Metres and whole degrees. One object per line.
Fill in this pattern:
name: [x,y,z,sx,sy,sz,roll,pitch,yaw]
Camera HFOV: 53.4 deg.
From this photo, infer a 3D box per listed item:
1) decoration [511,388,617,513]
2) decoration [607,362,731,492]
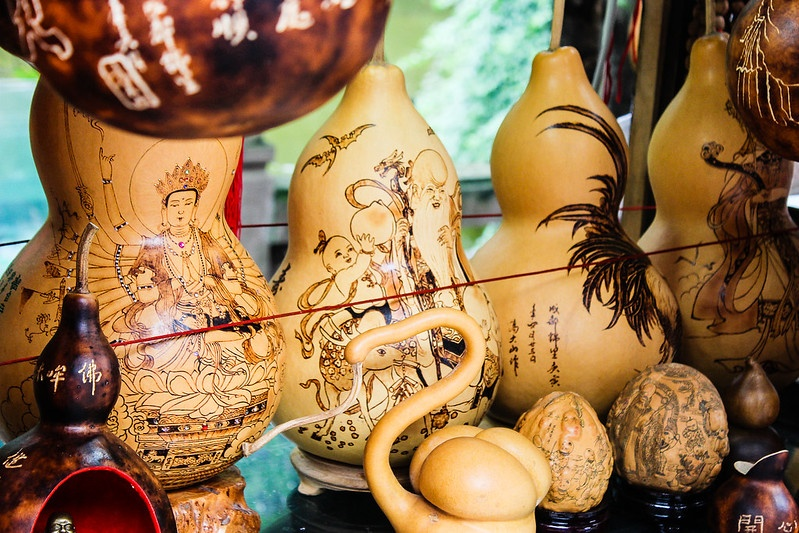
decoration: [0.163,0.184,0.807,0.088,0.117,0.112,1,-1,18]
decoration: [0.257,0.158,0.849,0.118,0.144,0.118,4,2,4]
